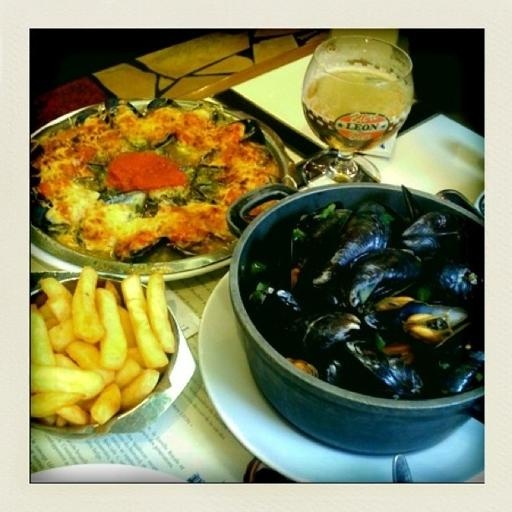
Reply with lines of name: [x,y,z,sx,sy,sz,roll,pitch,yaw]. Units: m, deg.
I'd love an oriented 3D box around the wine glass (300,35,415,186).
wine glass: [0.196,-0.279,1.030,0.200,0.255,0.206,34,54,28]

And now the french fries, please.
french fries: [-0.225,0.132,0.710,0.250,0.195,0.084,12,-19,-7]

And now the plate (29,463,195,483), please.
plate: [-0.223,0.323,0.743,0.242,0.040,0.014,-1,29,5]
